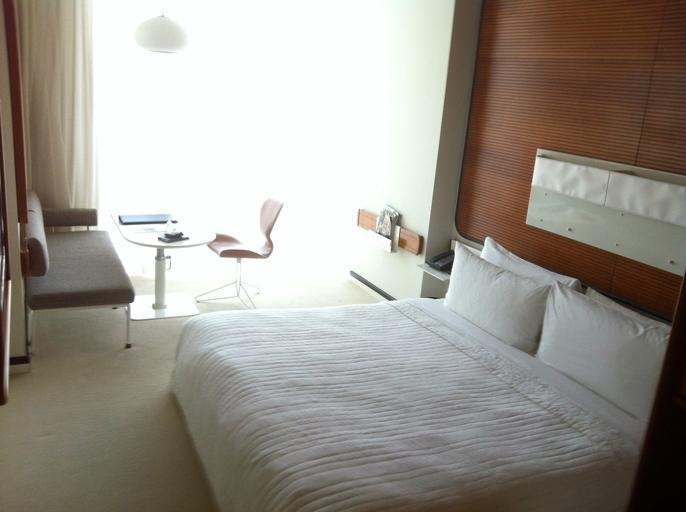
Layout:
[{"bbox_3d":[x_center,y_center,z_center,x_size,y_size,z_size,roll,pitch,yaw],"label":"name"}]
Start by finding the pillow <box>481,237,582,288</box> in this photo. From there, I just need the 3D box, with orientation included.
[{"bbox_3d":[1.356,0.078,3.633,0.404,0.131,0.413,27,33,37],"label":"pillow"}]

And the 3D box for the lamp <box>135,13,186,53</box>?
[{"bbox_3d":[-1.572,-1.889,4.134,0.353,0.327,0.337,-3,27,-17],"label":"lamp"}]

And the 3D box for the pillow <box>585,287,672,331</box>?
[{"bbox_3d":[1.980,0.356,3.200,0.740,0.075,0.144,21,-28,-3],"label":"pillow"}]

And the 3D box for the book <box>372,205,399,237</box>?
[{"bbox_3d":[0.461,-0.363,5.105,0.033,0.322,0.249,-5,33,-37],"label":"book"}]

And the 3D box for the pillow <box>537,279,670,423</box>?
[{"bbox_3d":[1.570,0.563,2.894,0.249,0.562,0.849,3,13,-26],"label":"pillow"}]

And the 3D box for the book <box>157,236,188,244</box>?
[{"bbox_3d":[-1.550,-0.155,4.410,0.274,0.037,0.135,-4,17,-20],"label":"book"}]

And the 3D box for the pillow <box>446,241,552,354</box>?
[{"bbox_3d":[1.105,0.297,3.568,0.230,0.526,0.907,-3,23,-34],"label":"pillow"}]
